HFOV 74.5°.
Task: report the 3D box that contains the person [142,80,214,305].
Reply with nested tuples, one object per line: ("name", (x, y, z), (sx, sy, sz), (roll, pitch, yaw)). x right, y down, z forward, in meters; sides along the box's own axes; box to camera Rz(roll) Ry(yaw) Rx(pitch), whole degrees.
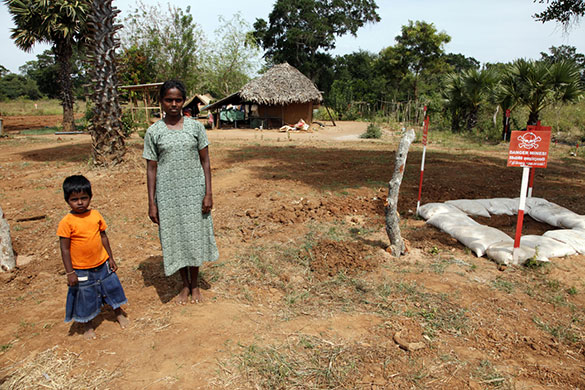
("person", (-1.529, -0.230, 5.165), (0.831, 2.546, 0.505), (-6, 16, -20))

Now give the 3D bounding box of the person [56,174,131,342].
("person", (-2.600, 0.759, 4.852), (0.617, 2.012, 0.715), (12, 20, 39))
